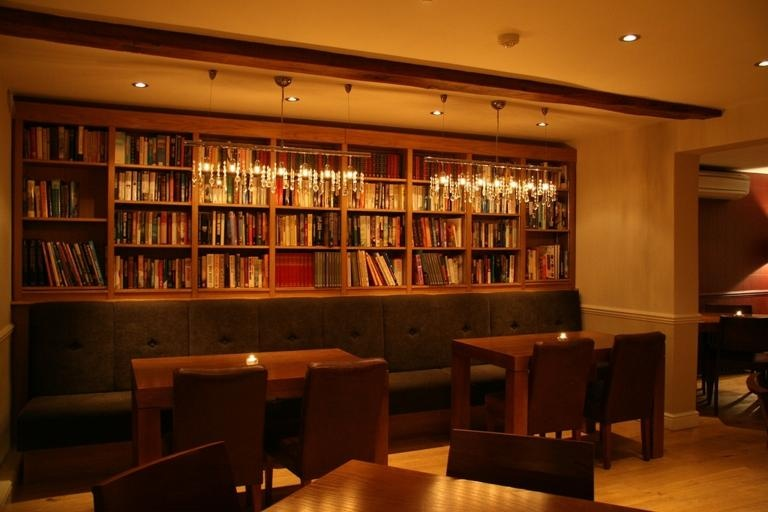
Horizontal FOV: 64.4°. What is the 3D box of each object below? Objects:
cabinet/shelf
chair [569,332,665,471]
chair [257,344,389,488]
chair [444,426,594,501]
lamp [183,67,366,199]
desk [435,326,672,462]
[{"bbox_3d":[-0.545,-0.333,6.845,6.201,1.718,0.635,0,-2,-24],"label":"cabinet/shelf"},{"bbox_3d":[2.227,1.313,5.946,0.783,1.224,0.818,0,3,-16],"label":"chair"},{"bbox_3d":[-0.456,1.416,4.807,0.999,1.177,0.988,1,-5,12],"label":"chair"},{"bbox_3d":[0.805,1.097,3.518,0.643,0.391,0.401,1,-5,10],"label":"chair"},{"bbox_3d":[-0.998,-1.127,5.994,1.720,1.066,1.409,-1,6,-17],"label":"lamp"},{"bbox_3d":[1.530,1.307,6.005,1.409,0.831,0.963,0,-3,-30],"label":"desk"}]
